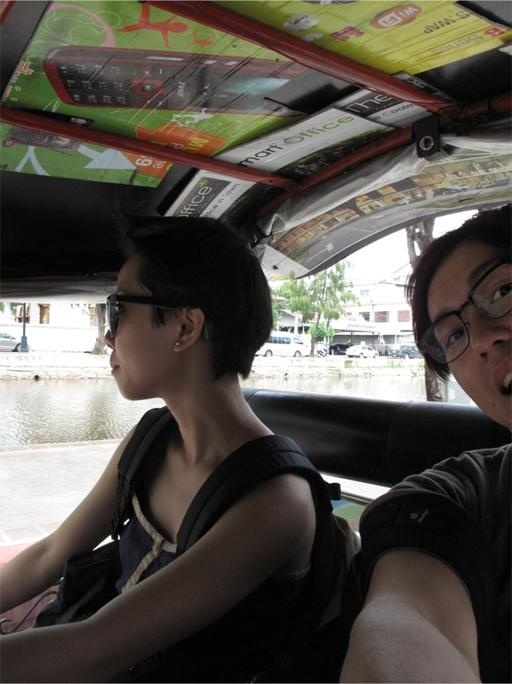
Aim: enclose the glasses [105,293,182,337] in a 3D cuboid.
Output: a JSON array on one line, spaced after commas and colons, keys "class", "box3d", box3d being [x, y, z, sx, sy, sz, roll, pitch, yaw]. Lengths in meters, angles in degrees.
[{"class": "glasses", "box3d": [-0.236, -0.069, 1.193, 0.259, 0.100, 0.221, 0, 1, 8]}]
